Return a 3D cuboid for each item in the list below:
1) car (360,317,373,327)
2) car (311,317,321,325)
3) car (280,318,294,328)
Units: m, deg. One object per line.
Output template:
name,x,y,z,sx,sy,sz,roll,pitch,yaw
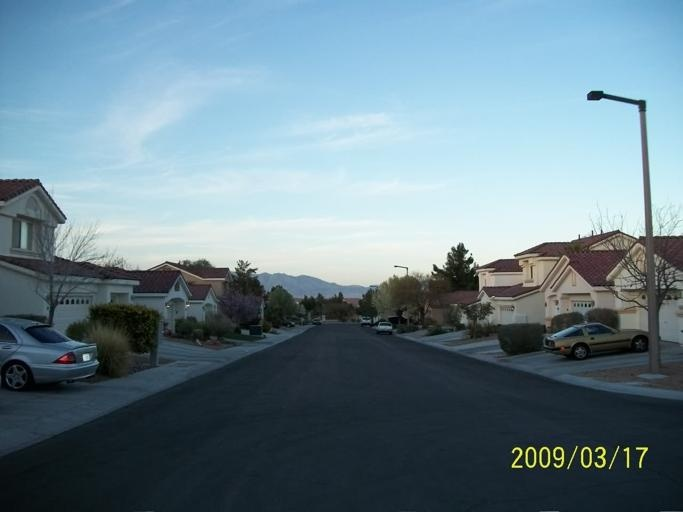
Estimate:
car,4.672,12.201,109.304,2.459,1.358,1.443,-1,0,-12
car,-5.393,14.333,129.568,1.415,1.113,2.164,0,-10,-5
car,-8.696,10.482,92.640,2.151,0.964,3.270,3,2,4
